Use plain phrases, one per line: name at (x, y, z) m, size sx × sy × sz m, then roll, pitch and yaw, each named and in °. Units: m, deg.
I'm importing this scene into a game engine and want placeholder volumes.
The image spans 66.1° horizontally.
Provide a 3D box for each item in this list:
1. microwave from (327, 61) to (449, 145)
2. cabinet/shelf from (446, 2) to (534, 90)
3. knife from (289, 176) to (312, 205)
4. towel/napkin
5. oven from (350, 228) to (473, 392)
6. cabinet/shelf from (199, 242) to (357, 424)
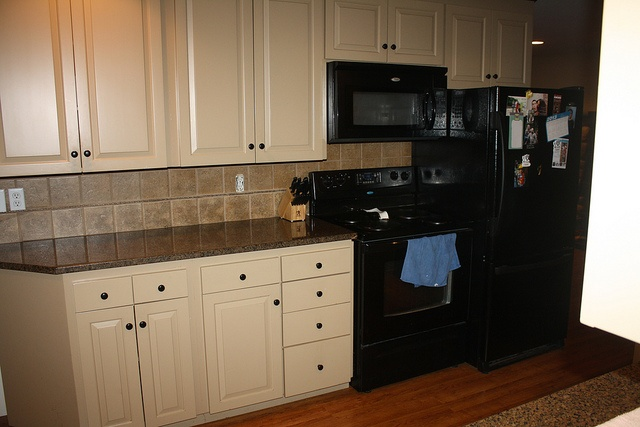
microwave at (0.464, -0.791, 3.472) m, size 0.923 × 0.573 × 0.571 m, roll -3°, pitch 8°, yaw -23°
cabinet/shelf at (1.255, -1.288, 3.730) m, size 0.780 × 0.642 × 0.293 m, roll -4°, pitch 9°, yaw -22°
knife at (-0.139, -0.155, 3.500) m, size 0.154 × 0.273 × 0.151 m, roll 6°, pitch 18°, yaw 15°
towel/napkin at (0.726, 0.304, 3.313) m, size 0.387 × 0.275 × 0.053 m, roll -6°, pitch 11°, yaw -28°
oven at (0.489, 0.610, 3.704) m, size 0.953 × 1.041 × 0.802 m, roll -5°, pitch 11°, yaw -30°
cabinet/shelf at (-0.304, 0.731, 3.075) m, size 1.047 × 0.971 × 0.499 m, roll -5°, pitch 9°, yaw -26°
